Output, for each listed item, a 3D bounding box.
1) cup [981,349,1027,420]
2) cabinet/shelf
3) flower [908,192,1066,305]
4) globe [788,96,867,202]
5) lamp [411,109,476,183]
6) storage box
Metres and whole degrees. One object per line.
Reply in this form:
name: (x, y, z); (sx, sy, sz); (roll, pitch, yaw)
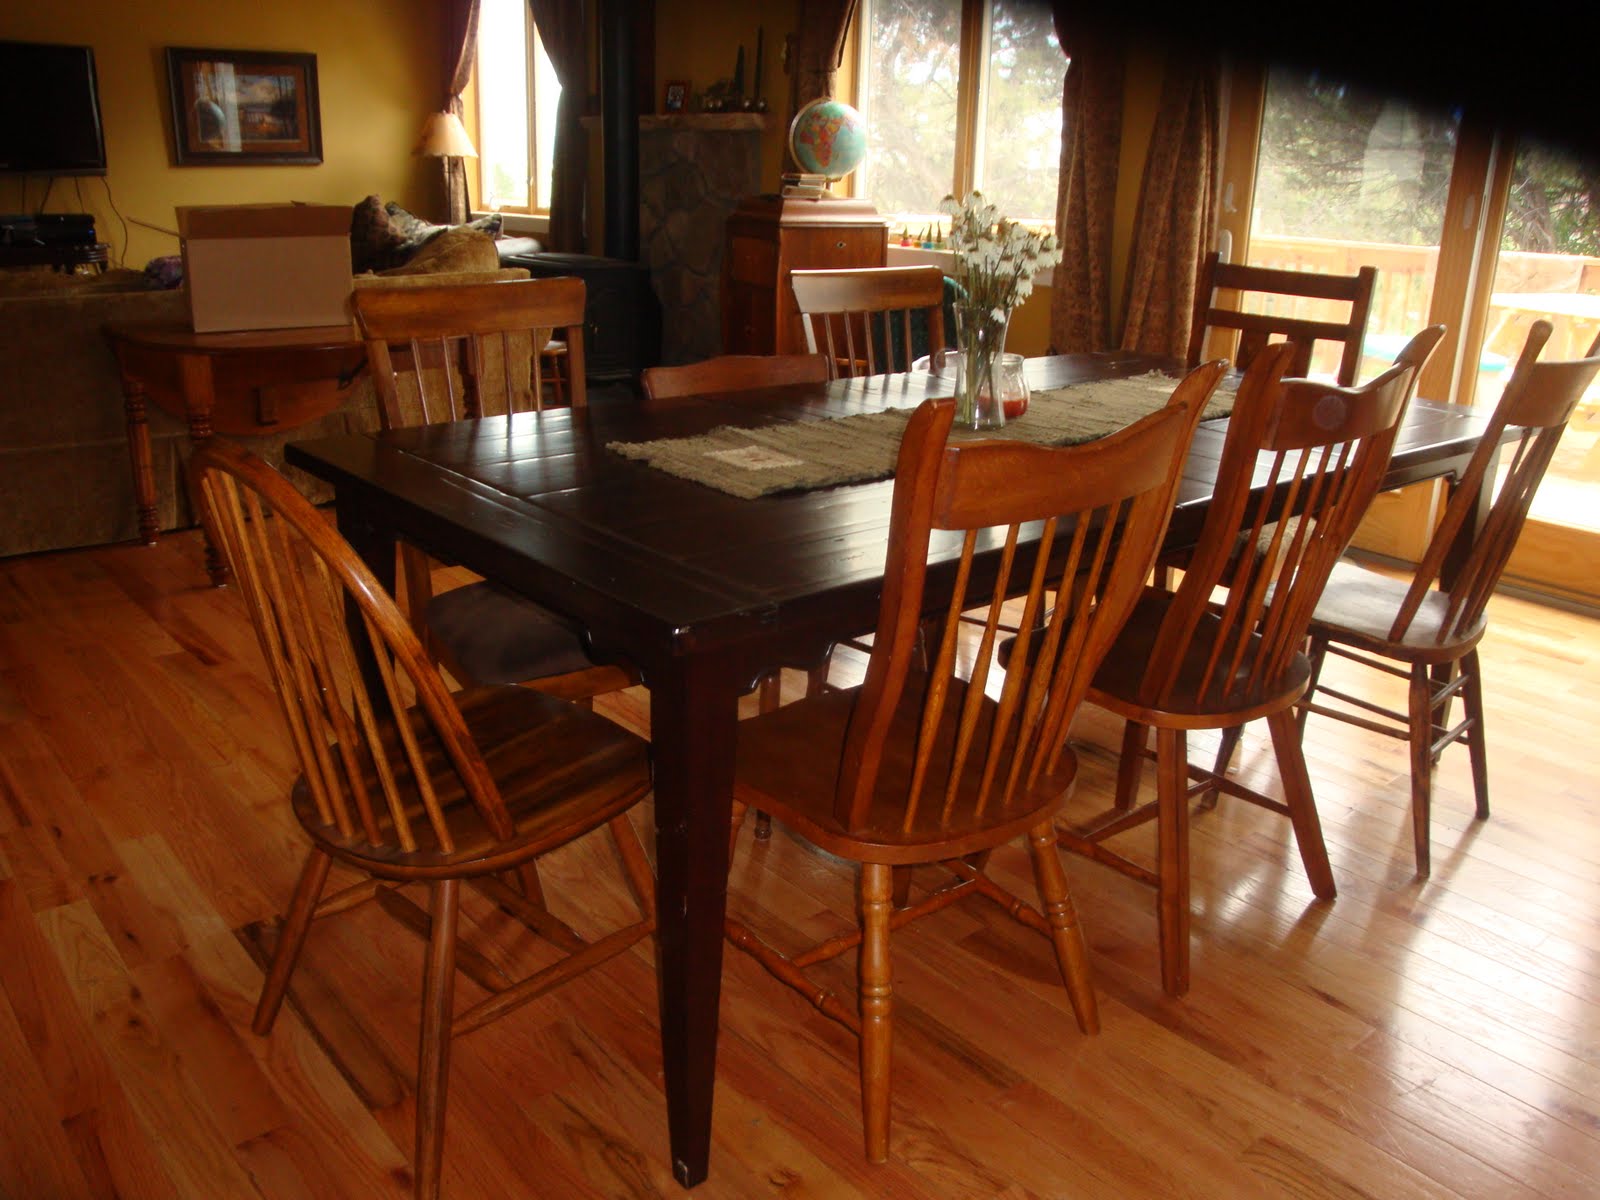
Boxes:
cup: (0.388, -0.411, 2.432); (0.116, 0.120, 0.090); (-1, 15, 5)
cabinet/shelf: (-0.007, -1.180, 5.394); (0.631, 0.867, 0.659); (7, 16, 17)
flower: (0.360, -0.616, 2.352); (0.125, 0.151, 0.142); (8, 7, 39)
globe: (0.079, -1.826, 5.172); (0.285, 0.351, 0.256); (-7, 23, -23)
lamp: (-2.216, -2.911, 8.237); (0.415, 0.446, 0.412); (3, 25, 3)
storage box: (-1.497, -0.922, 3.620); (0.489, 0.332, 0.524); (23, 29, 39)
